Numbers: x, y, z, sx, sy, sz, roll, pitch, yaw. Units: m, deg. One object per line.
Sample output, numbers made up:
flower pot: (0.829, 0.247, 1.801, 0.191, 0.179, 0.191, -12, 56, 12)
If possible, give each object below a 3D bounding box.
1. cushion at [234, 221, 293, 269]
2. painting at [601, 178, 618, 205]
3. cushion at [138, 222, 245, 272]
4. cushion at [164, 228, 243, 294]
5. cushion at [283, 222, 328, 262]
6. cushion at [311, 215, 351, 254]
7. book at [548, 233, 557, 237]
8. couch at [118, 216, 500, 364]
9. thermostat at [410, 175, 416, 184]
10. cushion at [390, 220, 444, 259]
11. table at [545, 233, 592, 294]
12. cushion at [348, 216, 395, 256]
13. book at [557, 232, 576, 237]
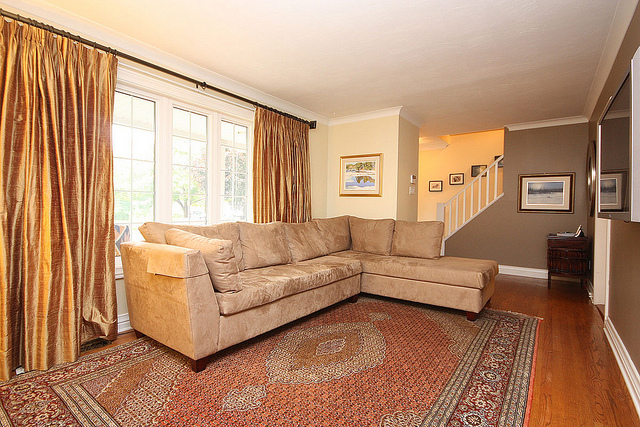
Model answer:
cushion: (-0.742, 0.364, 5.024, 0.154, 0.563, 0.660, -30, -19, 37)
painting: (2.853, -0.223, 3.912, 0.082, 0.256, 0.491, 0, 4, 28)
cushion: (-1.661, 0.286, 4.760, 1.127, 0.305, 1.142, 6, -1, -41)
cushion: (-1.202, 0.480, 3.969, 0.207, 0.360, 0.586, -30, 27, -34)
cushion: (-0.245, 0.376, 5.581, 0.149, 0.513, 0.581, -33, -18, 30)
cushion: (0.120, 0.376, 6.205, 0.141, 0.531, 0.592, -29, -13, 34)
book: (3.848, 0.341, 6.556, 0.123, 0.042, 0.618, -1, 4, 30)
couch: (-0.323, 0.662, 5.027, 3.907, 1.288, 1.950, -4, 4, -20)
thermostat: (1.588, -0.594, 6.806, 0.023, 0.098, 0.164, -1, -2, 32)
cushion: (1.381, 0.384, 5.822, 0.734, 0.564, 0.351, 3, 2, 28)
table: (3.863, 0.766, 6.151, 0.563, 0.820, 0.257, 0, 6, 33)
cushion: (0.783, 0.329, 6.232, 0.828, 0.562, 0.295, 6, 20, 44)
book: (3.954, 0.329, 6.376, 0.174, 0.040, 0.165, 0, 0, 20)
